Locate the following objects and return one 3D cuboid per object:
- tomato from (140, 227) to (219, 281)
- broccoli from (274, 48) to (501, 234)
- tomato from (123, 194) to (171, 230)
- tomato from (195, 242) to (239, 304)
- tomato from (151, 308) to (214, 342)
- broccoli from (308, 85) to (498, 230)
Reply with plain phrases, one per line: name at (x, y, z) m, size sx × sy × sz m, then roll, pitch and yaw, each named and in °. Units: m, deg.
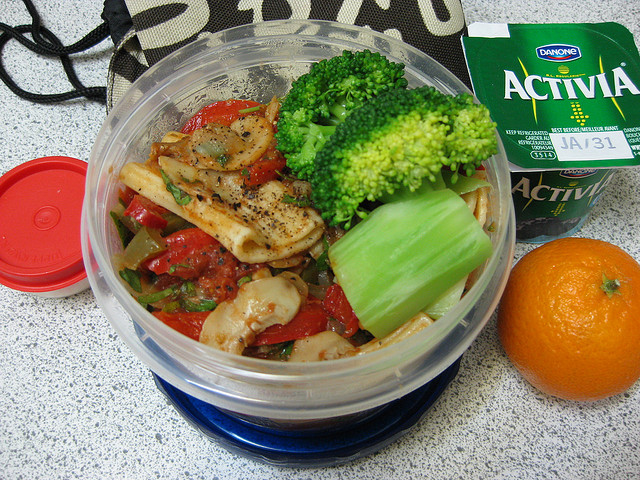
tomato at (-0.326, 0.032, 1.330) m, size 0.153 × 0.050 × 0.117 m, roll -18°, pitch 76°, yaw 3°
broccoli at (0.100, -0.165, 1.349) m, size 0.199 × 0.324 × 0.445 m, roll 38°, pitch 38°, yaw -7°
tomato at (-0.419, -0.065, 1.355) m, size 0.094 × 0.054 × 0.072 m, roll 29°, pitch 60°, yaw 18°
tomato at (-0.242, 0.084, 1.337) m, size 0.110 × 0.036 × 0.142 m, roll 25°, pitch 78°, yaw -3°
tomato at (-0.324, 0.178, 1.301) m, size 0.113 × 0.043 × 0.077 m, roll 15°, pitch 56°, yaw 10°
broccoli at (0.181, -0.205, 1.301) m, size 0.425 × 0.219 × 0.200 m, roll -16°, pitch 56°, yaw -11°
